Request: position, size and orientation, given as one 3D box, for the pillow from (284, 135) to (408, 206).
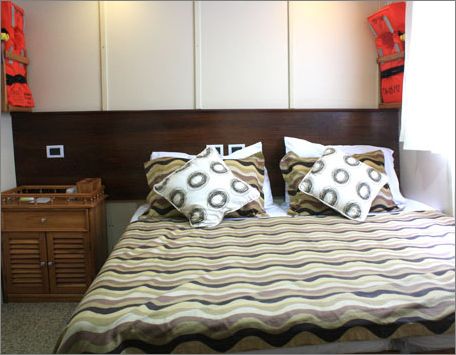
[{"bbox_3d":[0.919,-0.172,2.886,0.671,0.179,0.656,-1,28,-3],"label":"pillow"}]
